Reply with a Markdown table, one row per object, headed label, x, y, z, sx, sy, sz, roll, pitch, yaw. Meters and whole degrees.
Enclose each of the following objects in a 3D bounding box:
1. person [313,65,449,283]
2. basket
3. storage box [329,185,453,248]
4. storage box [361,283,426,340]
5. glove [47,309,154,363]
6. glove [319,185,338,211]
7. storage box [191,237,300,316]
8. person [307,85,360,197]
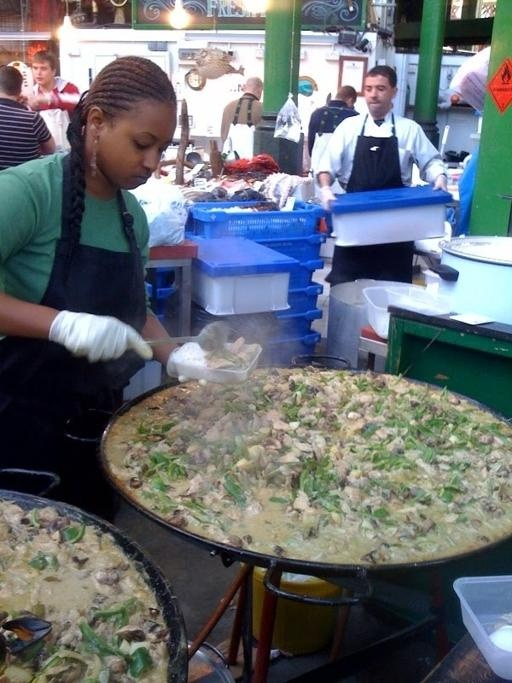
| label | x | y | z | sx | sy | sz | roll | pitch | yaw |
| --- | --- | --- | --- | --- | --- | --- | --- | --- | --- |
| person | 1.065 | -1.223 | 4.350 | 1.028 | 1.986 | 0.888 | 6 | 25 | 18 |
| basket | -0.026 | -0.433 | 3.232 | 0.892 | 1.174 | 0.863 | -11 | 26 | -28 |
| storage box | 0.886 | -0.820 | 3.676 | 0.954 | 0.313 | 0.539 | -9 | 0 | -14 |
| storage box | 0.626 | -0.144 | 2.373 | 0.254 | 0.124 | 0.365 | -3 | 15 | -12 |
| glove | -0.410 | -0.003 | 1.370 | 0.239 | 0.113 | 0.070 | 23 | -31 | -36 |
| glove | 0.496 | -0.979 | 3.544 | 0.185 | 0.073 | 0.283 | 4 | 33 | 5 |
| storage box | -0.122 | -0.532 | 3.482 | 0.569 | 0.389 | 0.791 | -7 | 35 | -14 |
| person | 1.155 | -2.864 | 7.345 | 0.765 | 1.786 | 0.572 | 13 | 61 | 7 |
